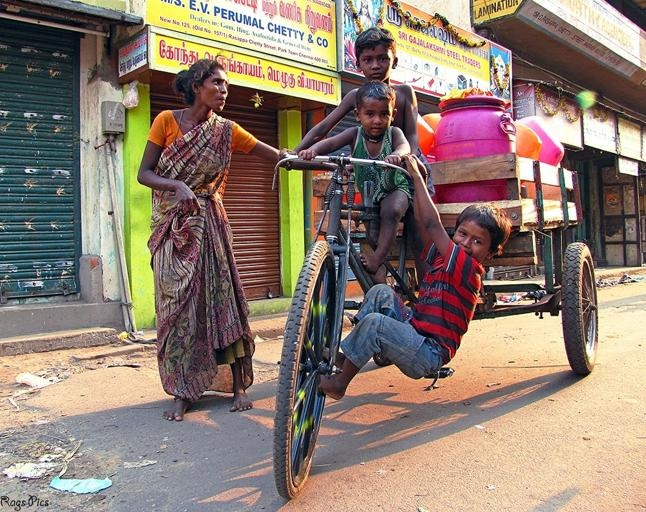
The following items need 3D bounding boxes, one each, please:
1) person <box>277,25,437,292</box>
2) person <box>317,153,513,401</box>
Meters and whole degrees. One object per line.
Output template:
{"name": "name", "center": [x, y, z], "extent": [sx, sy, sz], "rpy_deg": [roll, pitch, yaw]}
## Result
{"name": "person", "center": [0.208, -0.501, 3.738], "extent": [0.985, 1.602, 0.805], "rpy_deg": [17, -19, -31]}
{"name": "person", "center": [0.541, 0.087, 3.150], "extent": [0.617, 1.341, 1.064], "rpy_deg": [5, 9, 43]}
